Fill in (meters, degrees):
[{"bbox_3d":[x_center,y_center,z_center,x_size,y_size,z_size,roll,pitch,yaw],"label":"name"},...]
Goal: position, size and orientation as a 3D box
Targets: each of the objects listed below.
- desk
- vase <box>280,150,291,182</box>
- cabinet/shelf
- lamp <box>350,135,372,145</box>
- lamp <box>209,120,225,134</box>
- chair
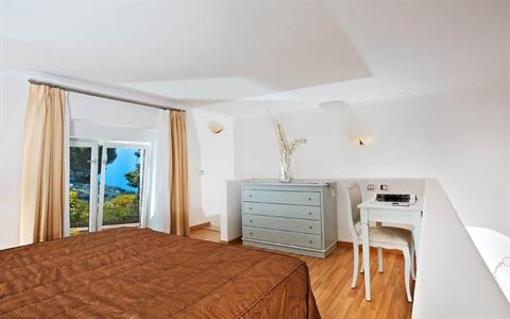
[{"bbox_3d":[1.713,1.101,3.762,0.686,1.194,0.817,2,11,28],"label":"desk"},{"bbox_3d":[0.532,0.120,5.102,0.171,0.519,0.164,-3,10,4],"label":"vase"},{"bbox_3d":[0.623,0.998,5.303,1.565,1.153,0.809,-1,1,31],"label":"cabinet/shelf"},{"bbox_3d":[1.903,-0.345,5.256,0.355,0.169,0.093,1,11,26],"label":"lamp"},{"bbox_3d":[-0.875,-0.766,6.889,0.310,0.318,0.403,1,10,25],"label":"lamp"},{"bbox_3d":[1.737,1.051,3.983,0.915,1.239,0.810,-2,-2,26],"label":"chair"}]
